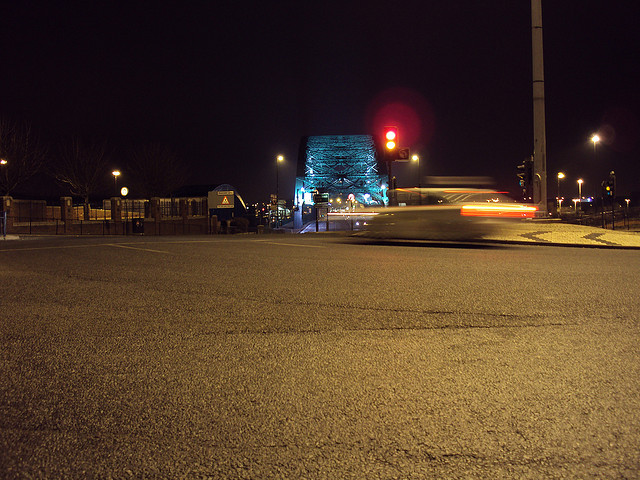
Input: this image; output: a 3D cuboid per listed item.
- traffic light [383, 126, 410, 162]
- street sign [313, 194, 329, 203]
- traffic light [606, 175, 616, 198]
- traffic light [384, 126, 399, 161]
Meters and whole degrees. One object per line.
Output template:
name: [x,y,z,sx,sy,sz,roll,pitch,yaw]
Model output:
traffic light: [2.296,-2.827,16.450,0.789,1.231,0.118,0,-25,12]
street sign: [0.042,-3.112,41.654,1.140,0.603,0.904,0,1,-8]
traffic light: [15.330,-2.813,28.926,0.361,1.108,1.221,0,1,23]
traffic light: [2.129,-2.802,16.419,0.434,1.257,0.214,-4,-32,13]
